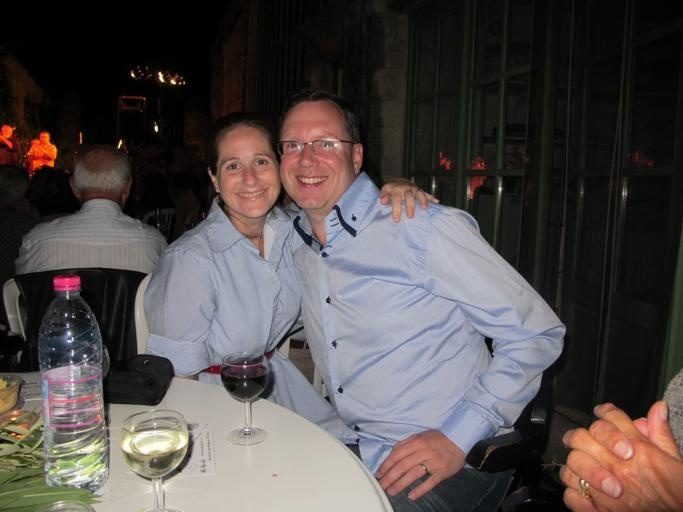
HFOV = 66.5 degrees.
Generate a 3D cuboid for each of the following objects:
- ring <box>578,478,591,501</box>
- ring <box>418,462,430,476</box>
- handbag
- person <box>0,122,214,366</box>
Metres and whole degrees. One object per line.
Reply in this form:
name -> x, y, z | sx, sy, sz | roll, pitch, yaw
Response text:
ring -> 0.645, 0.614, 1.379 | 0.025, 0.055, 0.012 | -4, -8, -2
ring -> 0.271, 0.687, 1.700 | 0.010, 0.038, 0.037 | -28, 23, -8
handbag -> -0.668, 0.402, 1.704 | 0.132, 0.058, 0.140 | 3, 16, -6
person -> -1.340, -0.090, 3.171 | 1.084, 1.614, 0.814 | 3, 10, -10
